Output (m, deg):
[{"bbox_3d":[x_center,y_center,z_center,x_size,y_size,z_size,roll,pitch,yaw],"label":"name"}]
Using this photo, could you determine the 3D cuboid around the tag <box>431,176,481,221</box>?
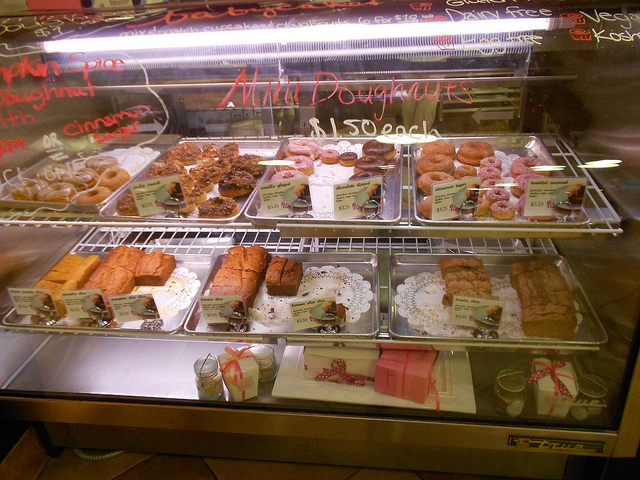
[{"bbox_3d":[0.676,-0.204,2.063,0.251,0.214,0.045,-14,42,-11],"label":"tag"}]

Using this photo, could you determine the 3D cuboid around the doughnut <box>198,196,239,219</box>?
[{"bbox_3d":[-0.571,-0.177,2.346,0.217,0.054,0.198,-2,36,3],"label":"doughnut"}]

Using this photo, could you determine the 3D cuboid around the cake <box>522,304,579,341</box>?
[{"bbox_3d":[1.252,0.438,2.214,0.294,0.132,0.163,5,39,13],"label":"cake"}]

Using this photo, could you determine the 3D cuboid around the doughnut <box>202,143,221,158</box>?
[{"bbox_3d":[-0.705,-0.596,2.710,0.098,0.031,0.099,-3,39,-14],"label":"doughnut"}]

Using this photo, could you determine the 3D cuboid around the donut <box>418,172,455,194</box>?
[{"bbox_3d":[0.636,-0.339,2.326,0.177,0.052,0.151,-3,33,0],"label":"donut"}]

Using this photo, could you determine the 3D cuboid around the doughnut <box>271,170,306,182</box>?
[{"bbox_3d":[-0.188,-0.375,2.398,0.135,0.039,0.119,-6,22,-7],"label":"doughnut"}]

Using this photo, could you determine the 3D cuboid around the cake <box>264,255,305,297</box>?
[{"bbox_3d":[-0.236,0.228,2.592,0.233,0.135,0.263,0,24,-9],"label":"cake"}]

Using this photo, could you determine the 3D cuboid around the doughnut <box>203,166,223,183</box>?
[{"bbox_3d":[-0.660,-0.421,2.583,0.117,0.037,0.100,-8,40,-10],"label":"doughnut"}]

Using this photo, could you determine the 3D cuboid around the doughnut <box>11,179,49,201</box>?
[{"bbox_3d":[-1.645,-0.280,2.361,0.158,0.052,0.132,-4,35,-9],"label":"doughnut"}]

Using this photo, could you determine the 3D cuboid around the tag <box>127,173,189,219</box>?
[{"bbox_3d":[-0.866,-0.242,2.215,0.313,0.234,0.065,-12,25,-5],"label":"tag"}]

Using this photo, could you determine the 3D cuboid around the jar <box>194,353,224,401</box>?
[{"bbox_3d":[-0.674,0.850,2.526,0.182,0.256,0.180,2,35,-1],"label":"jar"}]

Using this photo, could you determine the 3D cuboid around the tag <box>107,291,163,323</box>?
[{"bbox_3d":[-1.050,0.391,2.320,0.316,0.178,0.065,-4,33,2],"label":"tag"}]

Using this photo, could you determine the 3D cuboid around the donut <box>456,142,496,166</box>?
[{"bbox_3d":[0.930,-0.523,2.478,0.183,0.064,0.178,-8,30,4],"label":"donut"}]

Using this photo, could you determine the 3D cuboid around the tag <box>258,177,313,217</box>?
[{"bbox_3d":[-0.177,-0.223,2.165,0.252,0.205,0.045,-7,42,-2],"label":"tag"}]

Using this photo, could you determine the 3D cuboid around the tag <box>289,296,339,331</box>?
[{"bbox_3d":[-0.026,0.409,2.273,0.253,0.219,0.060,-7,42,-2],"label":"tag"}]

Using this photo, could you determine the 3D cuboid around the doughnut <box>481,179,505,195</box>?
[{"bbox_3d":[0.956,-0.303,2.280,0.112,0.030,0.099,-10,28,-13],"label":"doughnut"}]

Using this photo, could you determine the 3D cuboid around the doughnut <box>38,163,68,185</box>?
[{"bbox_3d":[-1.534,-0.381,2.407,0.136,0.044,0.133,39,55,14],"label":"doughnut"}]

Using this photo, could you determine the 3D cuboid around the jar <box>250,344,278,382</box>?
[{"bbox_3d":[-0.368,0.785,2.634,0.200,0.169,0.202,2,10,0],"label":"jar"}]

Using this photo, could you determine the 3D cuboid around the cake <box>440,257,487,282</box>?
[{"bbox_3d":[0.872,0.172,2.578,0.259,0.094,0.147,-3,37,2],"label":"cake"}]

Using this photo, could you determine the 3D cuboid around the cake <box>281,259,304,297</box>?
[{"bbox_3d":[-0.200,0.239,2.577,0.153,0.154,0.234,-4,32,13],"label":"cake"}]

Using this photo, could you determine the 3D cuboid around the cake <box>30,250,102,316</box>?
[{"bbox_3d":[-1.578,0.304,2.689,0.358,0.142,0.563,3,41,6],"label":"cake"}]

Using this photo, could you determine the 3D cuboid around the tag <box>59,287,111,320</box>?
[{"bbox_3d":[-1.341,0.353,2.344,0.249,0.185,0.049,-2,37,-7],"label":"tag"}]

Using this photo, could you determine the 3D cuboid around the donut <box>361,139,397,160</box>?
[{"bbox_3d":[0.366,-0.560,2.550,0.166,0.047,0.162,-18,28,-35],"label":"donut"}]

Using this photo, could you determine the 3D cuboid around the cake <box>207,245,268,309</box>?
[{"bbox_3d":[-0.489,0.199,2.596,0.269,0.127,0.454,5,40,6],"label":"cake"}]

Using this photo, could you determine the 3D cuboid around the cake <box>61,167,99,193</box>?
[{"bbox_3d":[-1.383,-0.352,2.400,0.181,0.049,0.151,1,38,0],"label":"cake"}]

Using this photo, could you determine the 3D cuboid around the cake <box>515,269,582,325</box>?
[{"bbox_3d":[1.276,0.271,2.358,0.406,0.236,0.413,5,21,10],"label":"cake"}]

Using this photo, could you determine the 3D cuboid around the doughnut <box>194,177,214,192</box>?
[{"bbox_3d":[-0.701,-0.338,2.519,0.107,0.054,0.093,11,37,10],"label":"doughnut"}]

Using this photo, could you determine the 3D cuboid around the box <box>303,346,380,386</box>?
[{"bbox_3d":[0.272,0.808,2.628,0.575,0.406,0.248,-12,60,41],"label":"box"}]

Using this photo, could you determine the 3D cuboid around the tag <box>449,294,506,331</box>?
[{"bbox_3d":[0.835,0.380,2.208,0.353,0.184,0.061,8,11,9],"label":"tag"}]

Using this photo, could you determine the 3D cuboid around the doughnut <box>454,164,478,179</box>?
[{"bbox_3d":[0.839,-0.392,2.361,0.139,0.048,0.122,-4,36,11],"label":"doughnut"}]

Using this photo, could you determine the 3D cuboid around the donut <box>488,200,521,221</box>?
[{"bbox_3d":[0.953,-0.153,2.142,0.129,0.041,0.126,-33,49,-29],"label":"donut"}]

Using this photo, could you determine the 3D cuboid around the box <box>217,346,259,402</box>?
[{"bbox_3d":[-0.489,0.808,2.529,0.228,0.253,0.221,-11,22,-24],"label":"box"}]

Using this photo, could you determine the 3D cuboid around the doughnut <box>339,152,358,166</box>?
[{"bbox_3d":[0.181,-0.510,2.573,0.095,0.039,0.090,21,50,38],"label":"doughnut"}]

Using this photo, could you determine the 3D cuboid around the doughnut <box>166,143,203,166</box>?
[{"bbox_3d":[-0.870,-0.561,2.678,0.167,0.051,0.162,-4,38,-11],"label":"doughnut"}]

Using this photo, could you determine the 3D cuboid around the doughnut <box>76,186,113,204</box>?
[{"bbox_3d":[-1.297,-0.253,2.380,0.193,0.045,0.121,-22,40,-23],"label":"doughnut"}]

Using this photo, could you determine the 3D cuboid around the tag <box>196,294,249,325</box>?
[{"bbox_3d":[-0.537,0.386,2.319,0.266,0.217,0.080,-2,42,5],"label":"tag"}]

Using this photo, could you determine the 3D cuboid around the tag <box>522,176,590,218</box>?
[{"bbox_3d":[1.142,-0.224,2.002,0.286,0.216,0.060,3,26,13],"label":"tag"}]

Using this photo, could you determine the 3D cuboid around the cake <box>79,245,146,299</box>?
[{"bbox_3d":[-1.261,0.185,2.563,0.235,0.107,0.365,1,39,13],"label":"cake"}]

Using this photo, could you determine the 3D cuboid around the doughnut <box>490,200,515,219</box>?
[{"bbox_3d":[0.944,-0.157,2.132,0.108,0.032,0.094,9,47,16],"label":"doughnut"}]

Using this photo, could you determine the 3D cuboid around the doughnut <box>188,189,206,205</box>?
[{"bbox_3d":[-0.731,-0.256,2.441,0.103,0.051,0.088,1,34,-6],"label":"doughnut"}]

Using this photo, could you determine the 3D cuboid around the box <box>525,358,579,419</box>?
[{"bbox_3d":[1.344,0.856,2.405,0.259,0.244,0.268,9,41,17],"label":"box"}]

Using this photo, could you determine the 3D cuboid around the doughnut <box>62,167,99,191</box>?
[{"bbox_3d":[-1.383,-0.359,2.416,0.166,0.051,0.152,18,35,23],"label":"doughnut"}]
